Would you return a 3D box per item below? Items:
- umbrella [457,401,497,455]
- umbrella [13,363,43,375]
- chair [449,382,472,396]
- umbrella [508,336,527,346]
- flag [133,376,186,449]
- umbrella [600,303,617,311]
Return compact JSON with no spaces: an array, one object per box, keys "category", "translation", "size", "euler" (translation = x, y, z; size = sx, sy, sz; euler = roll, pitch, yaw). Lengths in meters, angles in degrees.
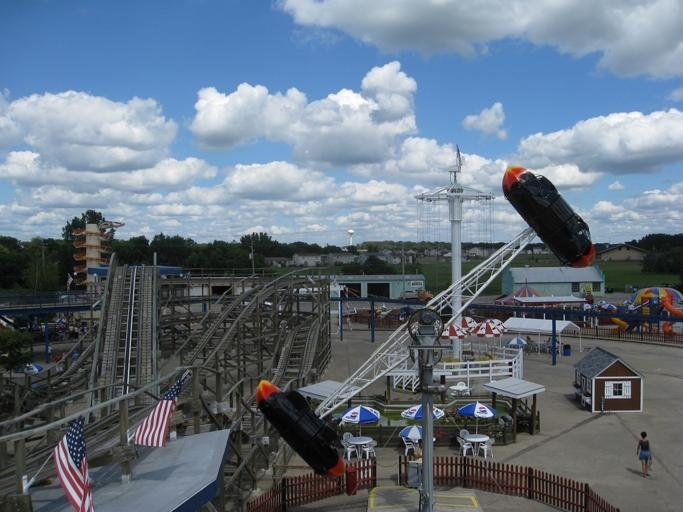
[{"category":"umbrella","translation":[6.535,7.890,31.608],"size":[1.920,1.950,1.948],"euler":[0,-13,7]},{"category":"umbrella","translation":[-19.168,6.852,40.463],"size":[1.865,0.675,1.885],"euler":[-5,-9,19]},{"category":"chair","translation":[6.749,7.705,38.341],"size":[0.914,0.552,0.815],"euler":[0,3,14]},{"category":"umbrella","translation":[13.243,6.479,50.424],"size":[1.401,0.537,1.382],"euler":[-2,-6,-1]},{"category":"flag","translation":[-6.181,5.439,22.616],"size":[1.371,2.384,2.538],"euler":[0,-4,-12]},{"category":"umbrella","translation":[24.627,4.671,61.410],"size":[1.381,0.529,2.591],"euler":[-2,-4,23]}]
